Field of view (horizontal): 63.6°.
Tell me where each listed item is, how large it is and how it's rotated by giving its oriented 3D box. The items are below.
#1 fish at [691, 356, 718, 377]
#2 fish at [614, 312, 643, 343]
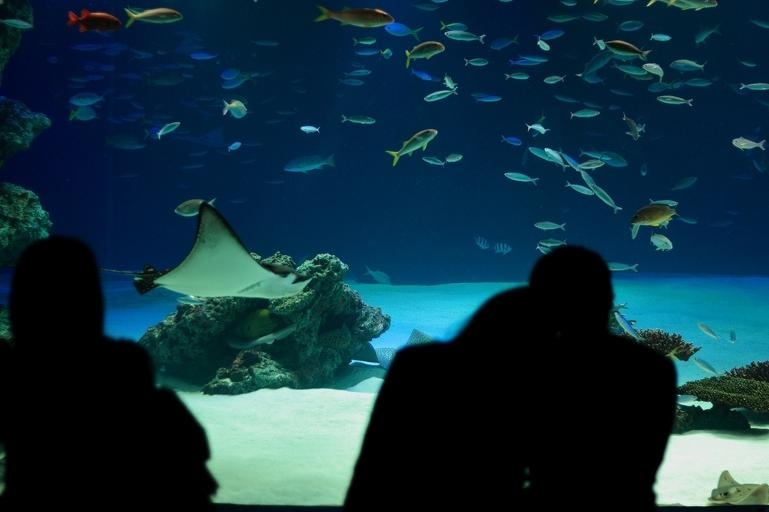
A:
[{"bbox_3d":[9.506,3.330,18.429,0.665,0.503,1.166,9,5,23],"label":"fish"},{"bbox_3d":[7.113,2.124,18.134,0.556,1.279,0.171,-40,24,34],"label":"fish"}]
